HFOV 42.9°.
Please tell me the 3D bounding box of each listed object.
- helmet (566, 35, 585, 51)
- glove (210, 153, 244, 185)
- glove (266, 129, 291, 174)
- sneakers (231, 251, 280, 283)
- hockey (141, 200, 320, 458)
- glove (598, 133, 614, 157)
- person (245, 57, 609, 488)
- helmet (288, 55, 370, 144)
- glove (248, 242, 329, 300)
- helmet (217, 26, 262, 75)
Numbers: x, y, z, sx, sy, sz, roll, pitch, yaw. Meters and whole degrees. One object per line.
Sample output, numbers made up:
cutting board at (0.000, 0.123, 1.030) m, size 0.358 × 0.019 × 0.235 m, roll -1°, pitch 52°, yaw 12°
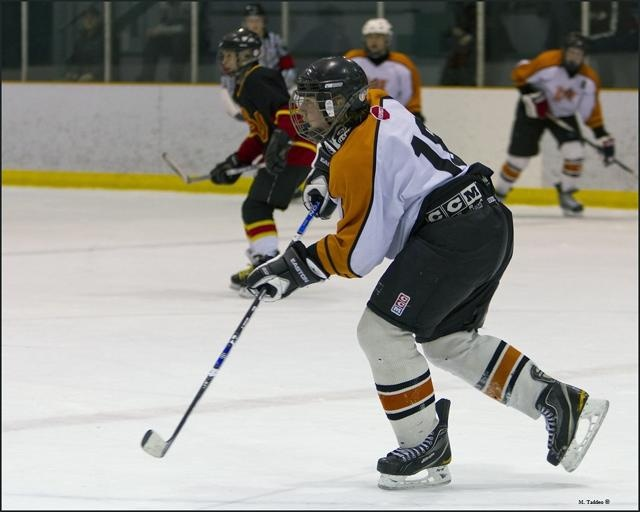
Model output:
helmet at (1.441, -1.230, 4.657) m, size 0.096 × 0.110 × 0.121 m, roll 5°, pitch 20°, yaw 5°
glove at (-0.546, -0.499, 4.778) m, size 0.200 × 0.077 × 0.148 m, roll -31°, pitch 7°, yaw 37°
glove at (-0.229, -0.564, 4.402) m, size 0.085 × 0.206 × 0.148 m, roll 15°, pitch 12°, yaw -36°
sneakers at (-0.303, 0.051, 3.819) m, size 0.242 × 0.148 × 0.082 m, roll -19°, pitch 19°, yaw 47°
hockey at (-0.419, 0.327, 3.700) m, size 1.332 × 0.110 × 0.055 m, roll -54°, pitch 4°, yaw -19°
glove at (2.210, -0.863, 6.337) m, size 0.100 × 0.170 × 0.129 m, roll -21°, pitch 31°, yaw 23°
person at (0.299, 0.049, 2.473) m, size 1.033 × 1.280 × 0.492 m, roll 6°, pitch 13°, yaw 24°
helmet at (0.029, -0.482, 2.519) m, size 0.279 × 0.256 × 0.222 m, roll -3°, pitch 9°, yaw -1°
glove at (-0.098, 0.052, 2.552) m, size 0.260 × 0.145 × 0.102 m, roll -27°, pitch -7°, yaw 13°
helmet at (-0.448, -1.143, 4.564) m, size 0.239 × 0.269 × 0.188 m, roll 1°, pitch 12°, yaw 3°
